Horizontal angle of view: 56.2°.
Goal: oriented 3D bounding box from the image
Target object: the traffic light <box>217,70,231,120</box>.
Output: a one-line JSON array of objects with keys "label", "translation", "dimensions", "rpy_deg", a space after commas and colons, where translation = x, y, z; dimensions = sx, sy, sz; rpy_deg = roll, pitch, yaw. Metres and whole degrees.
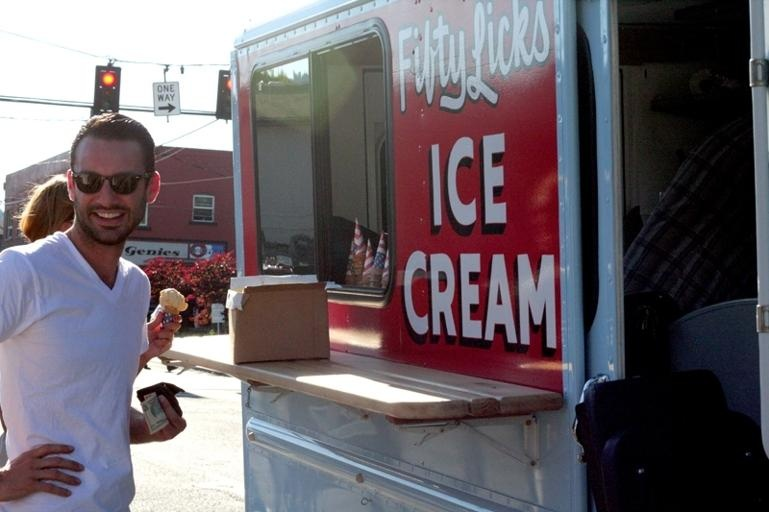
[{"label": "traffic light", "translation": [-3.064, -3.065, 13.547], "dimensions": [0.250, 1.003, 1.346], "rpy_deg": [1, 6, -14]}]

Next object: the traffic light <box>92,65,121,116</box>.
[{"label": "traffic light", "translation": [-5.225, -3.135, 13.447], "dimensions": [0.445, 0.952, 0.515], "rpy_deg": [0, 5, -27]}]

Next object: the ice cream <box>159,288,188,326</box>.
[{"label": "ice cream", "translation": [-0.894, 0.195, 3.010], "dimensions": [0.087, 0.163, 0.119], "rpy_deg": [26, 10, 33]}]
